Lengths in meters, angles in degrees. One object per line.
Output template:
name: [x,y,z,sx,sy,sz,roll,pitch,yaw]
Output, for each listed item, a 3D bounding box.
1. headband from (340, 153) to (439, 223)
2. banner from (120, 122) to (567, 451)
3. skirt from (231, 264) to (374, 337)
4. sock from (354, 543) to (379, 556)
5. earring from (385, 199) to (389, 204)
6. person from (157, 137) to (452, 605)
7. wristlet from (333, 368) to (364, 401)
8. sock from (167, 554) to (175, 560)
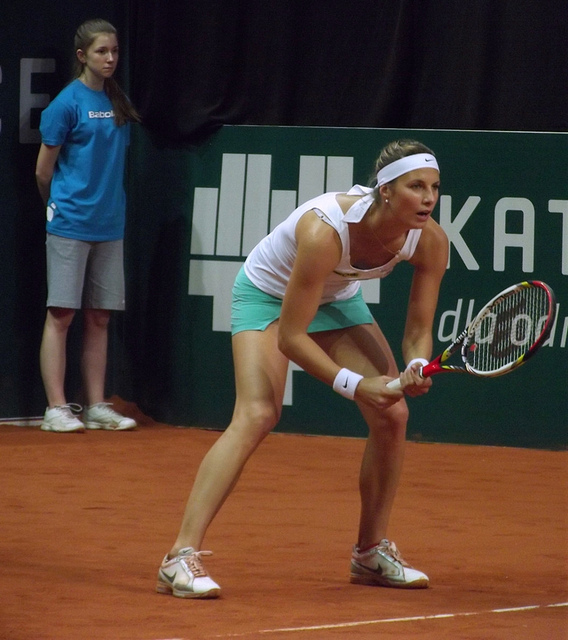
headband: [0.305,-0.368,2.148,0.244,0.179,0.281,7,3,6]
banner: [0.426,-0.475,6.062,3.140,2.192,1.107,0,12,-4]
skirt: [0.043,0.035,2.336,0.442,0.272,0.215,1,0,-23]
sock: [0.257,0.714,2.296,0.053,0.022,0.041,-29,-5,1]
earring: [0.286,-0.325,2.040,0.010,0.010,0.003,-2,-9,0]
person: [0.073,0.152,2.234,0.839,1.326,0.797,2,1,-1]
wristlet: [0.179,0.178,2.049,0.068,0.073,0.090,16,1,4]
sock: [-0.315,0.661,2.061,0.024,0.006,0.023,1,5,6]
